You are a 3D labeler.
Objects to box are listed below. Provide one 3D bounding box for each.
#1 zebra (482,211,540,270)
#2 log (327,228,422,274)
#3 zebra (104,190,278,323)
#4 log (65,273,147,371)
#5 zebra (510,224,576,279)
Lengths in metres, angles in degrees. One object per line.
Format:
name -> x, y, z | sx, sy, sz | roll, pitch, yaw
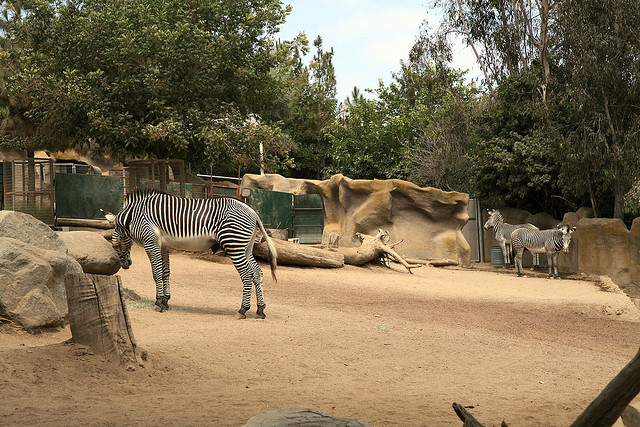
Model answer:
zebra -> 8.583, 1.204, 38.484 | 0.855, 2.575, 3.200 | -4, 9, -25
log -> 2.130, 1.476, 35.162 | 3.370, 1.602, 1.905 | 0, 1, -18
zebra -> -4.061, 1.099, 25.823 | 5.453, 4.031, 1.569 | 1, 1, 13
log -> -5.622, 2.772, 22.080 | 1.910, 2.457, 0.552 | 0, 1, 7
zebra -> 9.444, 1.586, 36.215 | 0.928, 2.312, 3.131 | 1, 0, -40
